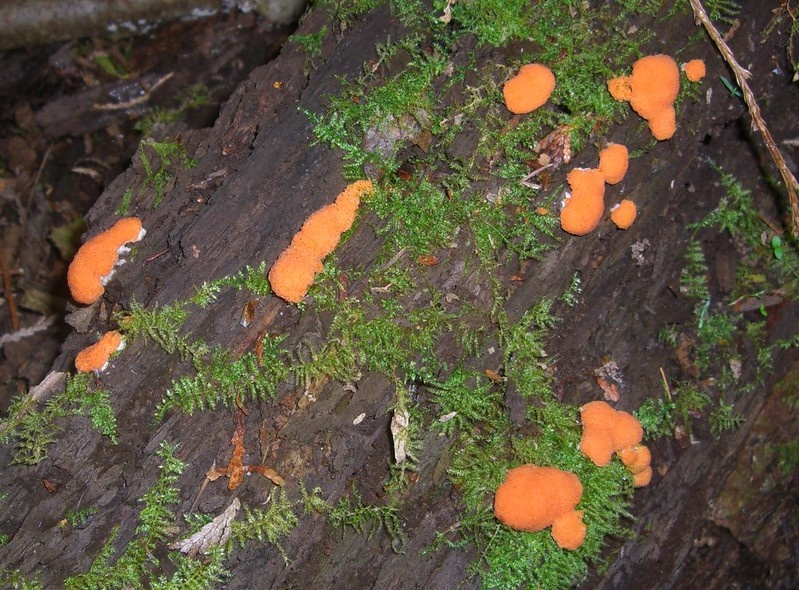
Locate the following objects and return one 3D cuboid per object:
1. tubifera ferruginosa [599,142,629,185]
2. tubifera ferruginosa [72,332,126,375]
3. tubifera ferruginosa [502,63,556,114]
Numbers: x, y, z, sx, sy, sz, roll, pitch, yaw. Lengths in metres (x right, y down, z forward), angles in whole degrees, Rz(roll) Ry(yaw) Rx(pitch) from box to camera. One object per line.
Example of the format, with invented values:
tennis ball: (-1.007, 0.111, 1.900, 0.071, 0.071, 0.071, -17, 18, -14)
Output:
tubifera ferruginosa: (1.944, -1.192, 7.421, 0.209, 0.273, 0.315, -21, -62, 47)
tubifera ferruginosa: (-2.705, 0.527, 7.390, 0.289, 0.450, 0.146, 43, -13, 5)
tubifera ferruginosa: (1.160, -1.845, 7.341, 0.366, 0.387, 0.364, -18, -59, 45)
